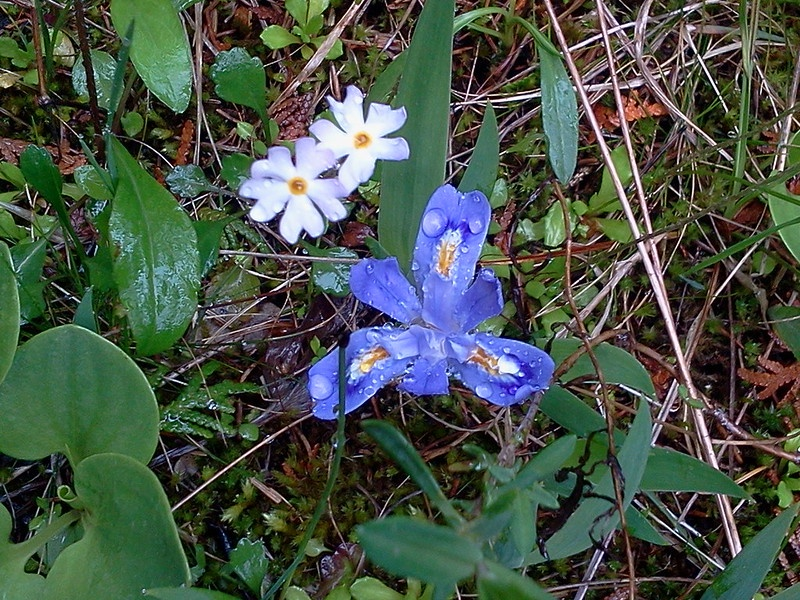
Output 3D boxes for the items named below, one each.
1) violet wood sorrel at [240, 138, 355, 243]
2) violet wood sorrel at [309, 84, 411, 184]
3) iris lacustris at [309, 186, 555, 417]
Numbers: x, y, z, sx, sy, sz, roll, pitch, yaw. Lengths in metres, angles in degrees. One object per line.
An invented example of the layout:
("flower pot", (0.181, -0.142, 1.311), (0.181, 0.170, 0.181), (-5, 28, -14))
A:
("violet wood sorrel", (-0.222, -0.232, 1.521), (0.225, 0.171, 0.150), (-21, 52, -18))
("violet wood sorrel", (-0.085, -0.361, 1.590), (0.208, 0.084, 0.223), (-1, 83, -23))
("iris lacustris", (0.117, -0.001, 1.739), (0.489, 0.337, 0.432), (2, 50, 1))
